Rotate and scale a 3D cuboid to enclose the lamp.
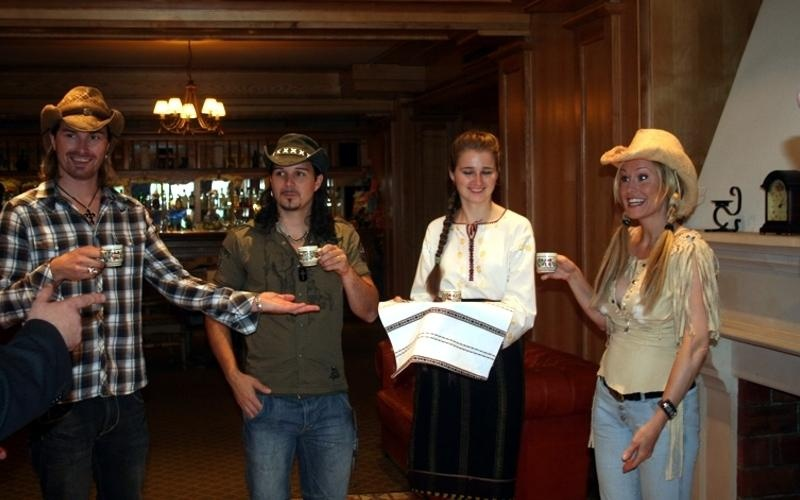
[{"bbox_3d":[-2.759,-2.225,7.964,0.937,1.321,0.894,4,7,18],"label":"lamp"}]

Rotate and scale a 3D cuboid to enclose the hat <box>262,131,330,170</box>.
[{"bbox_3d":[-0.561,-0.576,3.335,0.297,0.159,0.366,12,17,26],"label":"hat"}]

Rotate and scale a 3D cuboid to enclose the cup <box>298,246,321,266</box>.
[{"bbox_3d":[-0.459,0.039,3.133,0.085,0.075,0.123,-3,-1,32],"label":"cup"}]

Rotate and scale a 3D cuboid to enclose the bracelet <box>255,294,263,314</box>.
[{"bbox_3d":[-0.714,0.272,3.076,0.030,0.070,0.063,1,1,-12],"label":"bracelet"}]

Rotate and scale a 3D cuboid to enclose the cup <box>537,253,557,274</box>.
[{"bbox_3d":[0.789,0.066,3.311,0.125,0.085,0.093,0,-1,-4],"label":"cup"}]

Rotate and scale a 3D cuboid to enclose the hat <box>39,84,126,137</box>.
[{"bbox_3d":[-1.688,-0.780,3.268,0.397,0.202,0.431,-5,20,-42],"label":"hat"}]

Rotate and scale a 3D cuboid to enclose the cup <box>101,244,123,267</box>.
[{"bbox_3d":[-1.372,0.027,2.904,0.113,0.104,0.100,0,2,-25],"label":"cup"}]
